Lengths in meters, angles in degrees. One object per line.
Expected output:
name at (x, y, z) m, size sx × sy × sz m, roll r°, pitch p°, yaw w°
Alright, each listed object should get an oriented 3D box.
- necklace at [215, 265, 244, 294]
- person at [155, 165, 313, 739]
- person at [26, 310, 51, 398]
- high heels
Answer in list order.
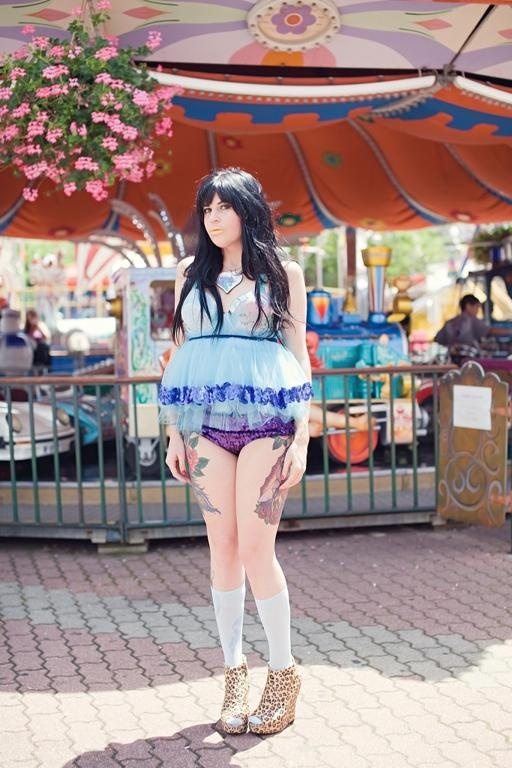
necklace at (-0.079, -0.294, 2.461) m, size 0.129 × 0.016 × 0.107 m, roll 0°, pitch 46°, yaw 12°
person at (-0.066, 0.195, 2.531) m, size 0.447 × 1.657 × 0.334 m, roll -1°, pitch 5°, yaw 1°
person at (-1.965, -0.390, 7.682) m, size 0.223 × 0.554 × 1.420 m, roll -3°, pitch 4°, yaw -13°
high heels at (0.009, 0.942, 2.577) m, size 0.162 × 0.102 × 0.264 m, roll -2°, pitch -11°, yaw 5°
